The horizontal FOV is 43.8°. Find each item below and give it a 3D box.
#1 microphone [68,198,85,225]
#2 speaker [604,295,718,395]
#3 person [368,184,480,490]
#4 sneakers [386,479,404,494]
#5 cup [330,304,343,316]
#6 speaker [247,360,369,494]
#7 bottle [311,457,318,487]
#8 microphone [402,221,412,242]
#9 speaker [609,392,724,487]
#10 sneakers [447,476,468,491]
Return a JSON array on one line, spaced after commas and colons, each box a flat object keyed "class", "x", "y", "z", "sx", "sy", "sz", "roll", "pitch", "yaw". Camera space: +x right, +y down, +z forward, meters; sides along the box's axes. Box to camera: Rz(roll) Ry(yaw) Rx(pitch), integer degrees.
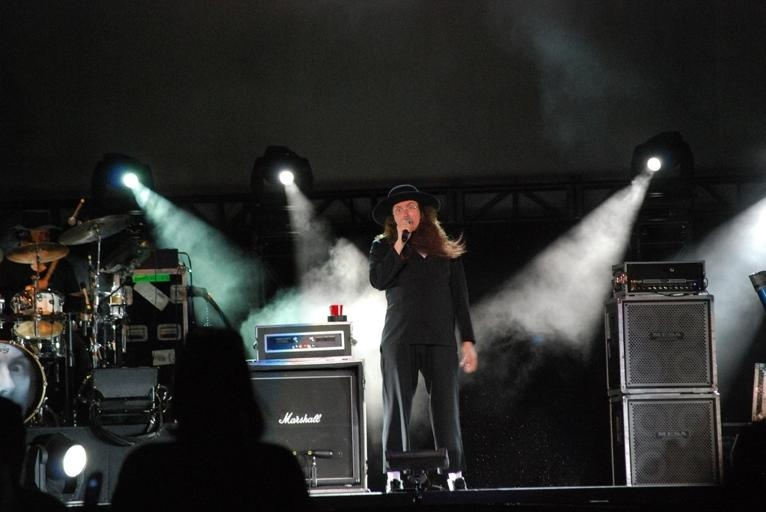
[{"class": "microphone", "x": -3.459, "y": -0.512, "z": 10.772, "sx": 0.106, "sy": 0.105, "sz": 0.357, "roll": 28, "pitch": 24, "yaw": -12}, {"class": "speaker", "x": 2.685, "y": 0.836, "z": 9.278, "sx": 0.913, "sy": 0.888, "sz": 0.689, "roll": -2, "pitch": -4, "yaw": 4}, {"class": "person", "x": 0.342, "y": 0.657, "z": 8.186, "sx": 0.891, "sy": 2.562, "sz": 0.656, "roll": -1, "pitch": -2, "yaw": 0}, {"class": "sneakers", "x": 0.109, "y": 1.918, "z": 8.000, "sx": 0.129, "sy": 0.150, "sz": 0.151, "roll": 3, "pitch": -20, "yaw": -5}, {"class": "cup", "x": -0.427, "y": 0.491, "z": 8.771, "sx": 0.098, "sy": 0.096, "sz": 0.097, "roll": 1, "pitch": 2, "yaw": 0}, {"class": "speaker", "x": -0.586, "y": 1.445, "z": 8.668, "sx": 1.335, "sy": 1.330, "sz": 1.014, "roll": -2, "pitch": -6, "yaw": 0}, {"class": "bottle", "x": -0.596, "y": 1.843, "z": 8.217, "sx": 0.042, "sy": 0.257, "sz": 0.083, "roll": -2, "pitch": -2, "yaw": 24}, {"class": "microphone", "x": 0.197, "y": -0.191, "z": 8.091, "sx": 0.040, "sy": 0.136, "sz": 0.136, "roll": 1, "pitch": 4, "yaw": 7}, {"class": "speaker", "x": 2.704, "y": 1.743, "z": 9.199, "sx": 0.907, "sy": 0.878, "sz": 0.680, "roll": -2, "pitch": -3, "yaw": -1}, {"class": "sneakers", "x": 0.614, "y": 1.884, "z": 7.913, "sx": 0.112, "sy": 0.118, "sz": 0.137, "roll": 4, "pitch": 3, "yaw": 43}]
